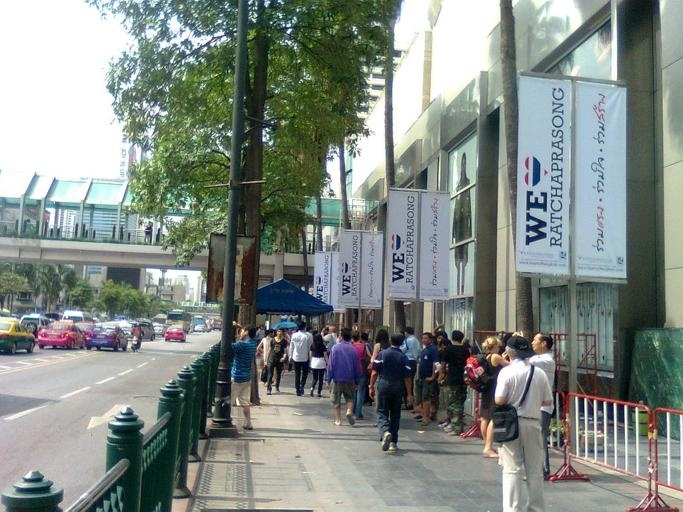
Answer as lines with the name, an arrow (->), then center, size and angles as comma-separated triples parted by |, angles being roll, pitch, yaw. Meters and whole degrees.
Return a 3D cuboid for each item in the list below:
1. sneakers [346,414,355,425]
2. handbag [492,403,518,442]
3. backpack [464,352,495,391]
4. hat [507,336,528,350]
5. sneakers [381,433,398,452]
sneakers -> 0.206, 3.881, 17.283 | 0.116, 0.392, 0.147 | -14, 32, 3
handbag -> 2.383, 2.413, 10.575 | 0.383, 0.580, 0.285 | -8, -20, 32
backpack -> 2.599, 2.238, 13.983 | 0.582, 0.725, 0.501 | 1, -10, 2
hat -> 2.643, 1.295, 10.951 | 0.297, 0.232, 0.302 | -1, -7, 13
sneakers -> 0.944, 3.704, 14.463 | 0.198, 0.205, 0.490 | -5, -43, -3
